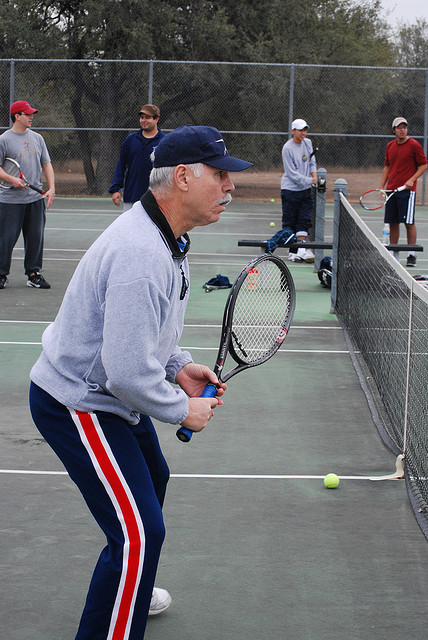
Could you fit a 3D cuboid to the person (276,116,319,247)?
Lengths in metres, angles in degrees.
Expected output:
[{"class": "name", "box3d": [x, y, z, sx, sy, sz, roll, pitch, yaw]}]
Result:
[{"class": "person", "box3d": [1.430, -2.417, 11.381, 0.598, 2.101, 1.224, 2, 9, 7]}]

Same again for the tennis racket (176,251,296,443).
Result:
[{"class": "tennis racket", "box3d": [0.151, 0.227, 4.322, 0.199, 0.630, 1.831, -8, 17, 24]}]

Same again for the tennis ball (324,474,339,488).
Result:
[{"class": "tennis ball", "box3d": [0.634, 0.884, 3.612, 0.071, 0.066, 0.068, -18, -20, -7]}]

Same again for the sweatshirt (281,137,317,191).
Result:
[{"class": "sweatshirt", "box3d": [1.440, -2.704, 11.403, 0.586, 0.923, 0.604, 2, 9, 5]}]

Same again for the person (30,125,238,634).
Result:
[{"class": "person", "box3d": [-0.192, 0.141, 1.760, 0.446, 1.276, 0.467, -7, 12, -39]}]

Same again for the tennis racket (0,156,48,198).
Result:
[{"class": "tennis racket", "box3d": [-2.580, -1.934, 8.717, 0.055, 0.290, 0.708, -1, -22, 40]}]

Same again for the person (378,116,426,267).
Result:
[{"class": "person", "box3d": [3.252, -2.264, 11.576, 0.720, 2.619, 1.042, 3, 9, 13]}]

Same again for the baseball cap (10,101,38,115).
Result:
[{"class": "baseball cap", "box3d": [-2.498, -2.757, 8.541, 0.382, 0.169, 0.222, 1, 19, -8]}]
